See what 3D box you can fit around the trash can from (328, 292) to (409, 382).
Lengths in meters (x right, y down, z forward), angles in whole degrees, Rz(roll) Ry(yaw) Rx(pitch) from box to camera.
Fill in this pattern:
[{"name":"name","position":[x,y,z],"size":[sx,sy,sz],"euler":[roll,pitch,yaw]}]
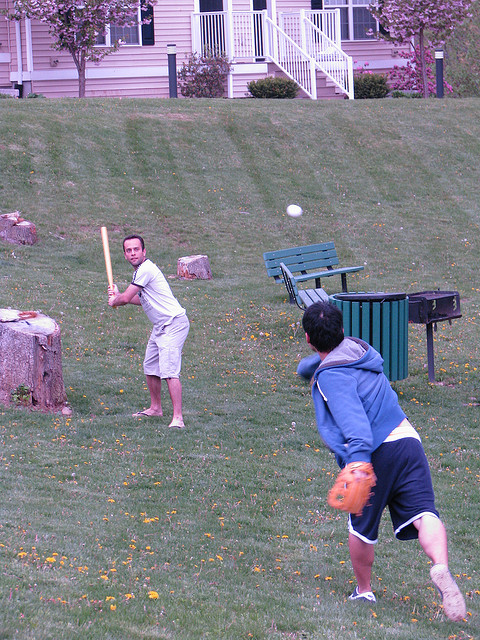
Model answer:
[{"name":"trash can","position":[1.938,0.197,23.840],"size":[0.920,1.137,0.979],"euler":[2,3,34]}]

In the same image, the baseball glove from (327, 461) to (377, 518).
[{"name":"baseball glove","position":[1.191,1.740,18.466],"size":[0.236,0.597,0.401],"euler":[35,-15,-28]}]

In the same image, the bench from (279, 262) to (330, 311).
[{"name":"bench","position":[0.958,-0.423,25.623],"size":[0.552,0.855,0.565],"euler":[-6,16,-17]}]

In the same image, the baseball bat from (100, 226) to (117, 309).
[{"name":"baseball bat","position":[-1.914,-0.730,25.459],"size":[0.119,1.316,0.137],"euler":[-10,-4,-11]}]
